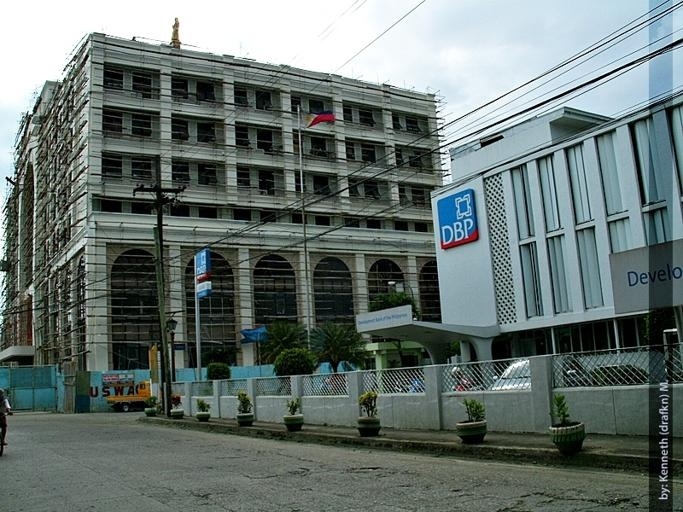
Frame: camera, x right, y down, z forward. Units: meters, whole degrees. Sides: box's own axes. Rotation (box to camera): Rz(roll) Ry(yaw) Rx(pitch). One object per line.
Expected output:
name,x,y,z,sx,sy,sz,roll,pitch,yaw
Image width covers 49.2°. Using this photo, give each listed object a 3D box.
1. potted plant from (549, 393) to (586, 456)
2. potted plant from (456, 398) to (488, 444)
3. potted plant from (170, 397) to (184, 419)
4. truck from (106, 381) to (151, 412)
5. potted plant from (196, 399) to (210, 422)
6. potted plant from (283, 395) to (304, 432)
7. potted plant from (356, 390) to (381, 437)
potted plant,5.696,4.266,18.867,0.810,1.495,0.725,-6,-14,13
potted plant,3.714,4.647,21.187,0.887,1.035,0.928,-12,-10,43
potted plant,-8.124,7.548,37.159,1.006,1.126,0.888,-1,-24,-3
truck,-15.107,9.883,53.062,2.849,2.080,0.781,1,-14,-16
potted plant,-6.097,6.882,33.256,0.532,0.907,1.293,0,-12,-11
potted plant,-1.672,5.619,26.721,0.828,0.951,0.734,-5,-6,-1
potted plant,0.925,5.153,24.473,0.902,1.203,0.853,5,-14,-23
